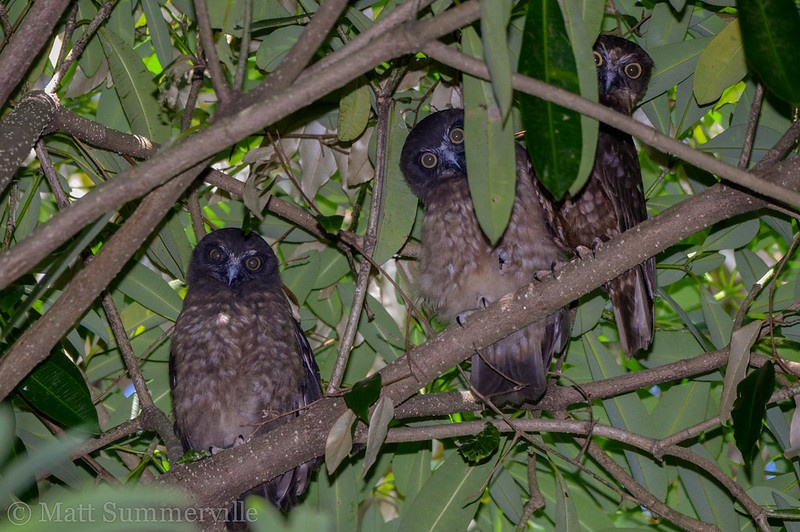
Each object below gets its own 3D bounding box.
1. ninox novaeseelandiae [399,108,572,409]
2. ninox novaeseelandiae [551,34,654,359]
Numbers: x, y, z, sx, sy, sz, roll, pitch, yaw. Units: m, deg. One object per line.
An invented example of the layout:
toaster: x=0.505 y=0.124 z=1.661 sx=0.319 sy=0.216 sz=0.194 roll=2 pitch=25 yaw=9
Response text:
ninox novaeseelandiae: x=0.433 y=-0.001 z=4.308 sx=0.648 sy=1.171 sz=1.166 roll=-17 pitch=-49 yaw=2
ninox novaeseelandiae: x=1.067 y=-0.368 z=4.727 sx=0.589 sy=1.662 sz=0.703 roll=-3 pitch=-29 yaw=9
